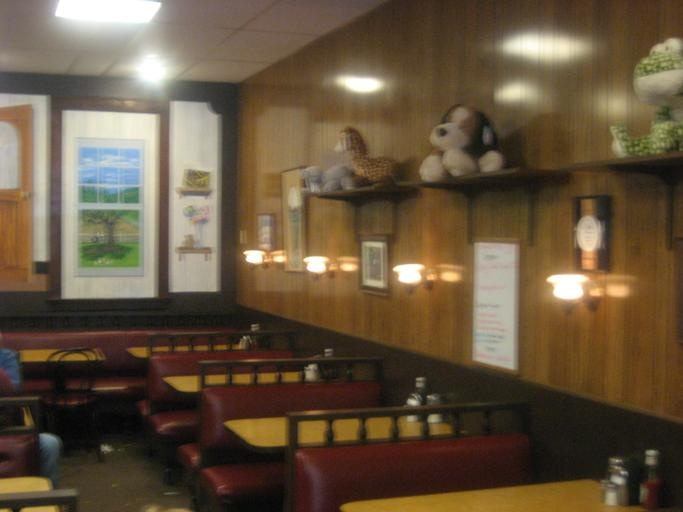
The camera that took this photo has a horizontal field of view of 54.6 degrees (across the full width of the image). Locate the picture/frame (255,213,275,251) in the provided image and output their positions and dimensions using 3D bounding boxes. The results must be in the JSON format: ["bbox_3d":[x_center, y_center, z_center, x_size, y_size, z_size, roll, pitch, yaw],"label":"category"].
[{"bbox_3d":[-0.790,-0.256,6.947,0.051,0.431,0.452,1,-2,-32],"label":"picture/frame"}]

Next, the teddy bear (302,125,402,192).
[{"bbox_3d":[0.012,-0.670,4.811,0.339,0.494,0.977,-7,7,-34],"label":"teddy bear"}]

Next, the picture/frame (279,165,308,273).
[{"bbox_3d":[-0.449,-0.340,6.291,0.096,0.979,0.597,-2,1,-18],"label":"picture/frame"}]

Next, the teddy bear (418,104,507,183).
[{"bbox_3d":[0.702,-0.639,3.735,0.399,0.402,0.550,-10,13,-29],"label":"teddy bear"}]

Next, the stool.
[{"bbox_3d":[-2.548,1.536,6.326,0.625,0.721,0.287,0,1,0],"label":"stool"}]

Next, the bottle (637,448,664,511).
[{"bbox_3d":[1.340,0.962,2.883,0.100,0.251,0.120,-1,1,38],"label":"bottle"}]

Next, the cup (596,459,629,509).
[{"bbox_3d":[1.214,0.997,2.934,0.109,0.187,0.139,-1,1,31],"label":"cup"}]
